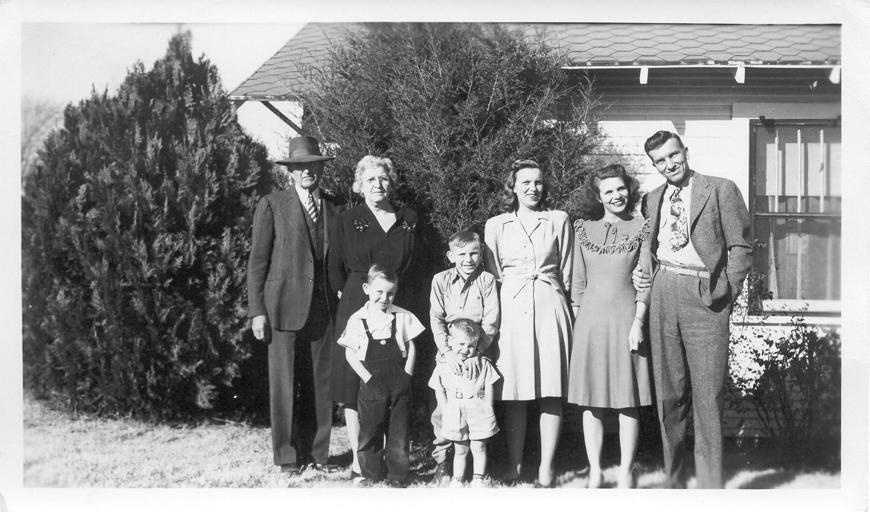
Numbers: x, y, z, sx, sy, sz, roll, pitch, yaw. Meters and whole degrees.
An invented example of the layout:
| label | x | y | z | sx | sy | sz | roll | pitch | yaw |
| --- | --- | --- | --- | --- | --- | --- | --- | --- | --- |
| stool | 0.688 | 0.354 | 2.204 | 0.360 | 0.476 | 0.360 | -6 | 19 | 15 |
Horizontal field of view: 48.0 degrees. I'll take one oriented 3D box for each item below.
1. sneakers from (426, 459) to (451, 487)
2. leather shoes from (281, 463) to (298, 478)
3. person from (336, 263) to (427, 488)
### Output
| label | x | y | z | sx | sy | sz | roll | pitch | yaw |
| --- | --- | --- | --- | --- | --- | --- | --- | --- | --- |
| sneakers | 0.089 | 2.487 | 11.132 | 0.229 | 0.315 | 0.117 | 1 | -4 | 21 |
| leather shoes | -1.648 | 2.448 | 11.146 | 0.201 | 0.204 | 0.124 | 0 | 5 | 2 |
| person | -0.585 | 1.315 | 10.833 | 0.849 | 2.406 | 0.352 | 1 | -2 | -5 |
